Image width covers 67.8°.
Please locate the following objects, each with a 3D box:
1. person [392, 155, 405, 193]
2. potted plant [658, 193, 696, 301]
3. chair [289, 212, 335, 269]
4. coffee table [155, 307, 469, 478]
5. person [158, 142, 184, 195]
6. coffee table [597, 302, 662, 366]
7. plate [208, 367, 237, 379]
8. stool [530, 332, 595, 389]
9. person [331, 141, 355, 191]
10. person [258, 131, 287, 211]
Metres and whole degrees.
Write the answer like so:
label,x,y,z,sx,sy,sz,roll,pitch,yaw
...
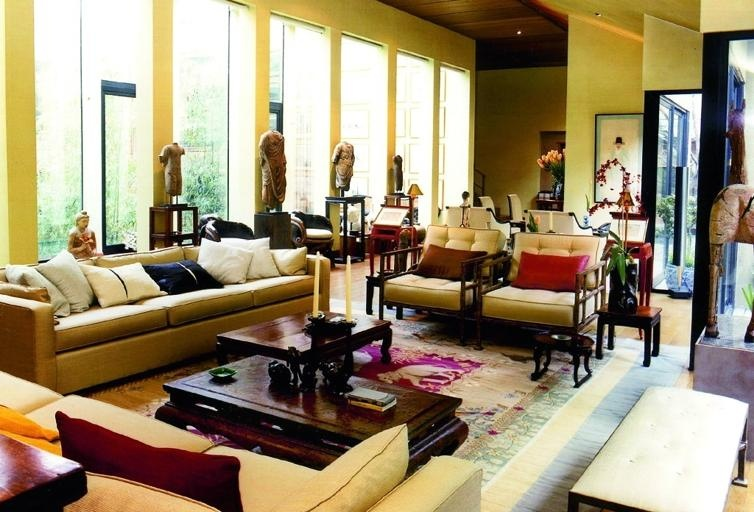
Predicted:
label,x,y,z,sx,sy,sz,roll,pitch,yaw
person,0.404,-1.595,10.977,0.172,0.720,0.252,1,11,1
potted plant,4.034,-0.298,7.569,0.504,1.444,0.344,6,12,27
chair,-1.043,-0.283,8.913,0.868,0.872,0.783,7,8,42
coffee table,-0.323,0.822,3.433,1.141,0.265,1.104,7,11,36
person,-2.759,-1.141,7.478,0.333,0.712,0.222,3,11,13
coffee table,2.329,0.628,5.152,0.575,0.541,0.585,3,4,33
plate,-0.969,0.738,3.519,0.101,0.023,0.087,3,11,9
stool,1.575,0.835,4.692,0.458,0.331,0.452,2,4,39
person,-0.607,-1.570,9.884,0.381,0.869,0.374,0,11,-6
person,-1.514,-1.224,8.158,0.347,1.144,0.274,-2,11,-15
